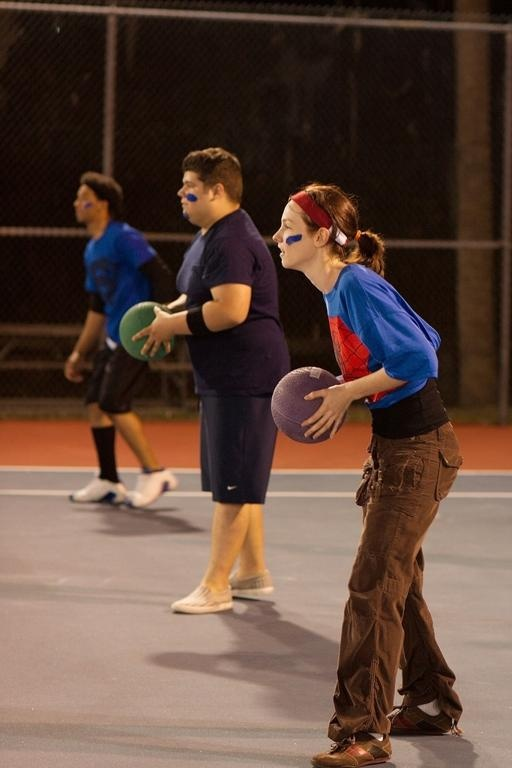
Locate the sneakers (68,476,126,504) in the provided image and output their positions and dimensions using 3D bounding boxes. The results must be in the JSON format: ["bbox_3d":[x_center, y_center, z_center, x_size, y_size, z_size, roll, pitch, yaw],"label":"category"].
[{"bbox_3d":[-1.105,0.749,5.771,0.366,0.141,0.179,3,-10,-4],"label":"sneakers"}]

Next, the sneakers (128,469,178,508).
[{"bbox_3d":[-0.692,0.746,5.742,0.163,0.366,0.192,48,4,-37],"label":"sneakers"}]

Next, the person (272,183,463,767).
[{"bbox_3d":[0.310,0.226,2.212,0.414,1.526,0.450,1,4,-19],"label":"person"}]

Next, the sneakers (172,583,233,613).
[{"bbox_3d":[-0.232,0.951,3.651,0.267,0.086,0.104,2,-9,-26],"label":"sneakers"}]

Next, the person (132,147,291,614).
[{"bbox_3d":[-0.166,-0.040,3.693,0.589,2.090,0.472,2,4,6],"label":"person"}]
